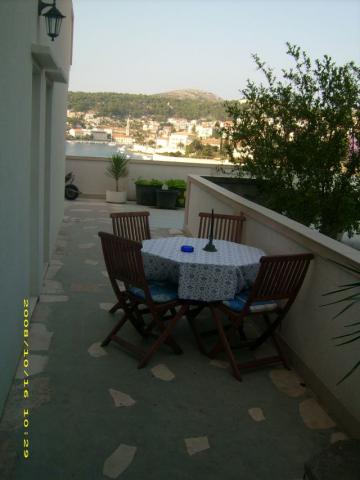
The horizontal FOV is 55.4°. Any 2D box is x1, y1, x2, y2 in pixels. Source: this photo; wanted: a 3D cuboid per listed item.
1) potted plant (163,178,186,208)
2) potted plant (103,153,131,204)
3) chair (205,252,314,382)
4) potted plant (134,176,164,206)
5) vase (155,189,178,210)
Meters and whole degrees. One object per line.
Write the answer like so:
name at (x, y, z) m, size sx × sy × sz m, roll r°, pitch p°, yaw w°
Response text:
potted plant at (-0.064, -1.521, 11.227) m, size 0.873 × 0.852 × 0.845 m, roll 3°, pitch 11°, yaw 17°
potted plant at (-2.033, -2.005, 11.088) m, size 0.696 × 1.628 × 1.122 m, roll 5°, pitch 9°, yaw -10°
chair at (0.563, 0.511, 2.730) m, size 0.625 × 0.909 × 0.711 m, roll 1°, pitch 7°, yaw -44°
potted plant at (-1.008, -1.628, 11.348) m, size 0.907 × 0.859 × 0.891 m, roll 6°, pitch 13°, yaw 16°
vase at (-0.432, -1.260, 10.691) m, size 0.646 × 0.457 × 0.631 m, roll 1°, pitch 6°, yaw 5°
